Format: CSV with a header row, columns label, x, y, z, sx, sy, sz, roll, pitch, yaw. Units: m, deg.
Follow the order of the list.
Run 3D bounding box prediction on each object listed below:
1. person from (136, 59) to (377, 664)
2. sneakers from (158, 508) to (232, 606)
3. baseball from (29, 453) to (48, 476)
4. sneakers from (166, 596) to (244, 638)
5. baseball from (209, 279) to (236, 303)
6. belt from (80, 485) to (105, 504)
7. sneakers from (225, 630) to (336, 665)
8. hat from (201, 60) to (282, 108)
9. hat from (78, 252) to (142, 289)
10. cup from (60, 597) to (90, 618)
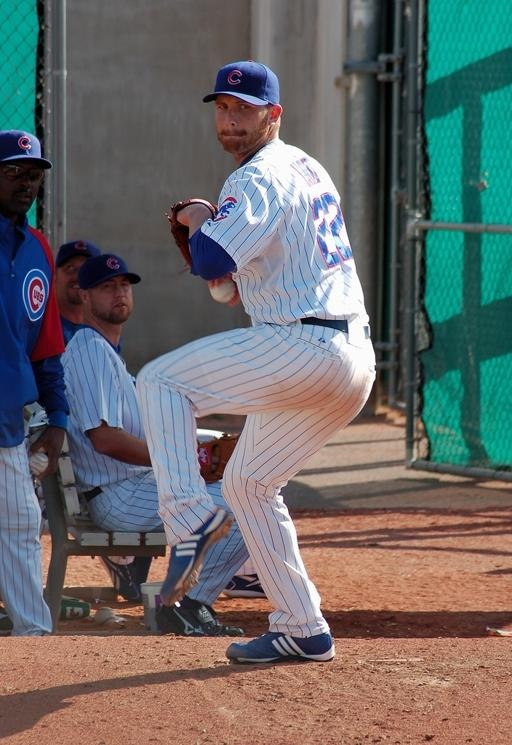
label,x,y,z,sx,sy,sz,roll,pitch,yaw
person,0.021,-0.006,3.315,0.721,1.785,0.434,-4,7,-12
sneakers,-0.165,0.505,3.187,0.210,0.247,0.113,-5,7,-15
baseball,-0.798,0.343,4.264,0.028,0.078,0.061,1,-5,26
sneakers,-0.158,0.884,4.222,0.390,0.173,0.128,2,1,0
baseball,-0.104,-0.231,3.301,0.075,0.056,0.029,23,-23,-23
belt,-0.653,0.488,4.616,0.077,0.070,0.019,6,-15,42
sneakers,0.076,0.824,3.497,0.332,0.131,0.112,3,-7,2
hat,-0.033,-0.820,3.355,0.188,0.104,0.142,0,9,-45
hat,-0.620,-0.390,4.860,0.213,0.122,0.163,-19,1,34
cup,-0.737,0.949,4.724,0.144,0.098,0.100,6,-9,-9
